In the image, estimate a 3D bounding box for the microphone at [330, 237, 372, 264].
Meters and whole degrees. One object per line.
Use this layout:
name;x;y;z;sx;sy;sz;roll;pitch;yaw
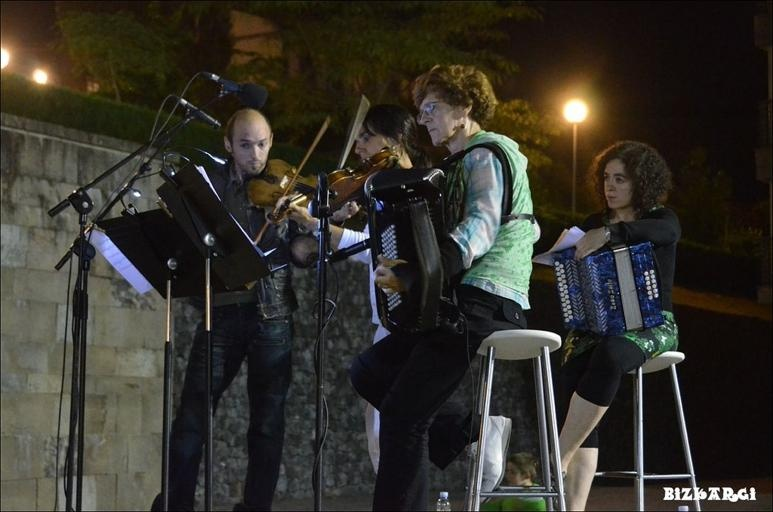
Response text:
microphone;-0.378;-0.079;13.330;0.509;0.123;0.122;-22;-25;7

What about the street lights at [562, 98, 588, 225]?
street lights;3.063;-1.622;20.570;0.318;1.969;0.321;5;21;2
